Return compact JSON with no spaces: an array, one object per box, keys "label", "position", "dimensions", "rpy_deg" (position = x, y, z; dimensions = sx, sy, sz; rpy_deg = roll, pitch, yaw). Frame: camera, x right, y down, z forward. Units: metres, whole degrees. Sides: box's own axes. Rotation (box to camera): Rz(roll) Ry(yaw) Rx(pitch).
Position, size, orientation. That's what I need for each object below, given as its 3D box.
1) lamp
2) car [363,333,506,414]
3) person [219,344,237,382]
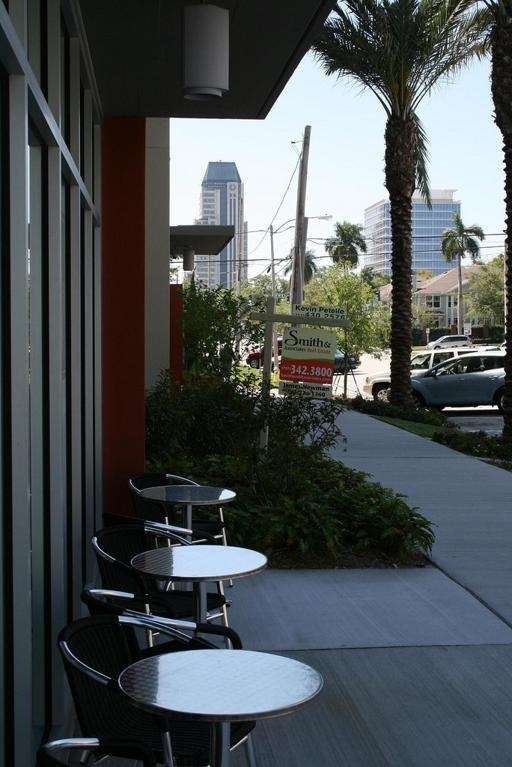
[{"label":"lamp","position":[-0.249,-1.707,3.159],"dimensions":[0.216,0.444,0.122],"rpy_deg":[0,-1,-9]},{"label":"car","position":[5.822,-0.339,20.928],"dimensions":[4.300,1.995,2.187],"rpy_deg":[1,-1,6]},{"label":"person","position":[-0.461,-0.367,10.675],"dimensions":[0.297,0.658,0.835],"rpy_deg":[0,-1,-2]}]
